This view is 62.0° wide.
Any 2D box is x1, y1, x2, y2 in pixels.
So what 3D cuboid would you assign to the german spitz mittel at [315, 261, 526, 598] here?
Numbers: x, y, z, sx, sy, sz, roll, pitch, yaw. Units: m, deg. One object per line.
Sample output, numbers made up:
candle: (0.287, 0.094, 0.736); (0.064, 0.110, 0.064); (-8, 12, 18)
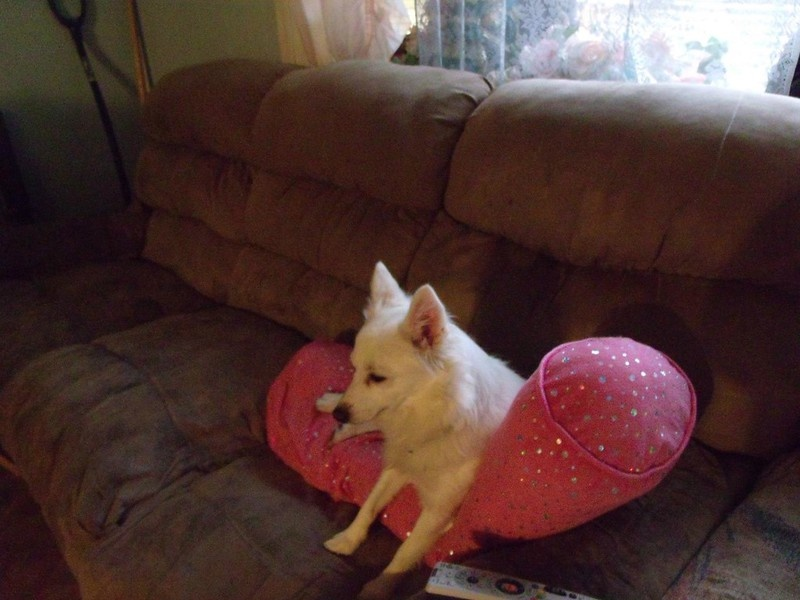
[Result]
german spitz mittel: (0.061, 0.360, 1.709); (0.609, 0.530, 0.302); (-35, 59, -24)
